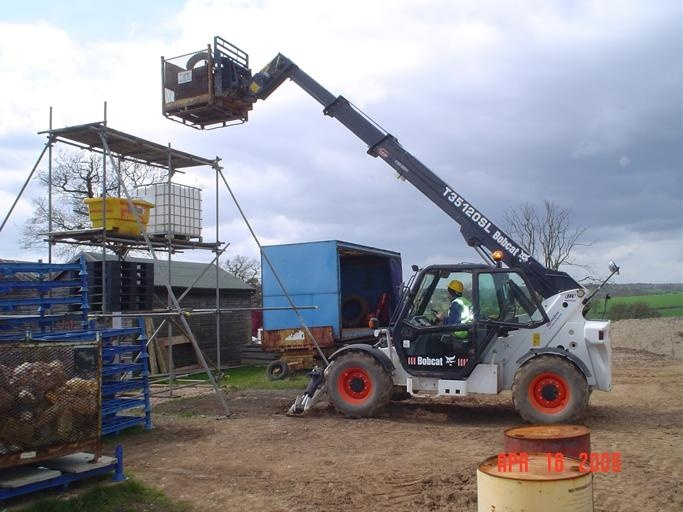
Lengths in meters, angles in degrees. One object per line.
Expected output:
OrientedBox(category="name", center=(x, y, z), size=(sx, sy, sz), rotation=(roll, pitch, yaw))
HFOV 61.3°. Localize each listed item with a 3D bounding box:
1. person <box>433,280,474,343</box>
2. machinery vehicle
OrientedBox(category="person", center=(1.880, 0.916, 9.699), size=(0.218, 1.060, 0.627), rotation=(2, -6, -45))
OrientedBox(category="machinery vehicle", center=(0.619, -0.444, 10.047), size=(8.318, 5.658, 2.441), rotation=(6, 11, -9))
